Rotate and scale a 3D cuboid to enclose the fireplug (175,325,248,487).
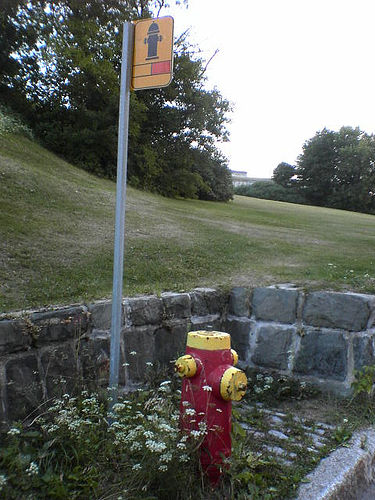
[{"bbox_3d":[0.126,0.834,2.207,0.382,0.742,0.346,6,5,18],"label":"fireplug"}]
